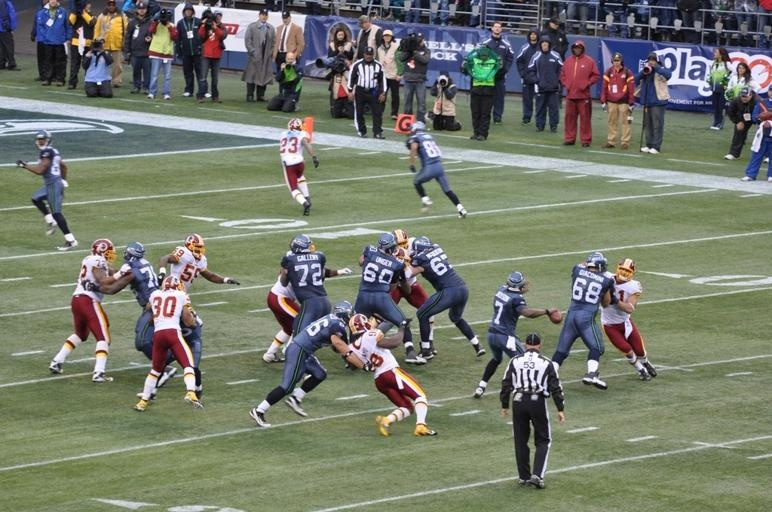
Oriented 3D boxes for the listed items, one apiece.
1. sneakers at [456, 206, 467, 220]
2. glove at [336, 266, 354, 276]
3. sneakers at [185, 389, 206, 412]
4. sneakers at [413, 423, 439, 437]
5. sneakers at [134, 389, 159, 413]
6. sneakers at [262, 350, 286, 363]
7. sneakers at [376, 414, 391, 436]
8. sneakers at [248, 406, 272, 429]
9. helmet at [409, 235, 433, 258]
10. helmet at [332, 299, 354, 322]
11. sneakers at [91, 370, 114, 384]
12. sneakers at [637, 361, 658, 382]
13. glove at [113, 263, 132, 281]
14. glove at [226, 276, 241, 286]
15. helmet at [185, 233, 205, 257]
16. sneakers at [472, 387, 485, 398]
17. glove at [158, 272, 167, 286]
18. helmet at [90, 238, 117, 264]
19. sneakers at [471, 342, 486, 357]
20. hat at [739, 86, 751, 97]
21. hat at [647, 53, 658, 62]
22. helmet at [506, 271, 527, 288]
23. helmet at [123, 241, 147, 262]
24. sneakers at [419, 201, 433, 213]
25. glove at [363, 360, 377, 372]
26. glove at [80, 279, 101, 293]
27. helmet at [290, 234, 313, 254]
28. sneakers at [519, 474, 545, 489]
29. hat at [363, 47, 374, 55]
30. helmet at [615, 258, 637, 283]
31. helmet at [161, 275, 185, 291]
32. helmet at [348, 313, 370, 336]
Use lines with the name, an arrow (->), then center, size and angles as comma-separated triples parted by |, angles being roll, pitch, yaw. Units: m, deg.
sneakers -> 1.613, -0.969, 28.007 | 0.163, 0.128, 0.348 | 42, 2, 11
glove -> -0.685, 0.190, 20.765 | 0.245, 0.058, 0.205 | 9, -14, -1
sneakers -> -2.835, 2.126, 19.012 | 0.338, 0.113, 0.236 | 38, 19, -22
sneakers -> 0.538, 2.461, 18.314 | 0.345, 0.158, 0.148 | 0, 13, 0
sneakers -> -3.573, 2.155, 19.028 | 0.170, 0.172, 0.422 | 23, 0, -7
sneakers -> -1.837, 1.595, 20.668 | 0.413, 0.145, 0.135 | -4, 31, -11
sneakers -> -0.055, 2.370, 18.239 | 0.180, 0.317, 0.134 | -15, 4, -7
sneakers -> -1.817, 2.311, 18.511 | 0.448, 0.221, 0.154 | 42, 18, -37
helmet -> 0.520, -0.178, 20.998 | 0.404, 0.321, 0.315 | 29, 19, 33
helmet -> -0.637, 0.802, 18.799 | 0.237, 0.263, 0.327 | 1, 8, 4
sneakers -> -4.359, 1.836, 19.927 | 0.276, 0.169, 0.393 | 4, 8, 23
sneakers -> 4.025, 1.784, 20.080 | 0.201, 0.163, 0.435 | 55, 6, 31
glove -> -4.180, 0.248, 20.415 | 0.339, 0.086, 0.101 | -40, 1, 0
glove -> -2.557, 0.400, 21.144 | 0.180, 0.115, 0.515 | -6, 2, -17
helmet -> -3.105, -0.170, 20.857 | 0.282, 0.327, 0.291 | -1, 8, -13
sneakers -> 1.375, 2.041, 19.439 | 0.109, 0.105, 0.245 | 11, -23, -1
glove -> -3.573, 0.355, 20.486 | 0.210, 0.204, 0.179 | 2, 11, -14
helmet -> -4.375, -0.096, 20.500 | 0.624, 0.398, 0.420 | 0, 7, -24
sneakers -> 1.487, 1.513, 21.017 | 0.164, 0.121, 0.343 | 41, 1, 11
hat -> 9.231, -4.264, 33.379 | 0.258, 0.184, 0.375 | 9, 34, 23
hat -> 7.006, -5.284, 34.153 | 0.263, 0.276, 0.266 | -5, 39, 8
helmet -> 1.910, 0.348, 19.548 | 0.260, 0.240, 0.268 | 8, 51, 16
helmet -> -4.221, -0.083, 21.572 | 0.368, 0.260, 0.261 | 18, 32, 20
sneakers -> 0.848, -1.073, 28.177 | 0.134, 0.135, 0.361 | -6, -12, -10
glove -> -0.252, 1.554, 18.457 | 0.162, 0.176, 0.164 | 1, 8, 0
glove -> -4.581, 0.452, 19.925 | 0.237, 0.161, 0.096 | 37, 34, 19
helmet -> -1.364, -0.195, 20.158 | 0.372, 0.249, 0.284 | 18, 31, 36
sneakers -> 1.890, 2.945, 16.884 | 0.423, 0.147, 0.134 | 13, -14, 3
hat -> -0.516, -5.650, 35.415 | 0.279, 0.177, 0.369 | 9, 13, -5
helmet -> 3.811, 0.181, 20.475 | 0.320, 0.315, 0.411 | 26, 28, 14
helmet -> -3.209, 0.389, 19.282 | 0.275, 0.203, 0.375 | -1, 8, -13
helmet -> -0.401, 0.983, 18.590 | 0.326, 0.272, 0.264 | 1, 8, -2
